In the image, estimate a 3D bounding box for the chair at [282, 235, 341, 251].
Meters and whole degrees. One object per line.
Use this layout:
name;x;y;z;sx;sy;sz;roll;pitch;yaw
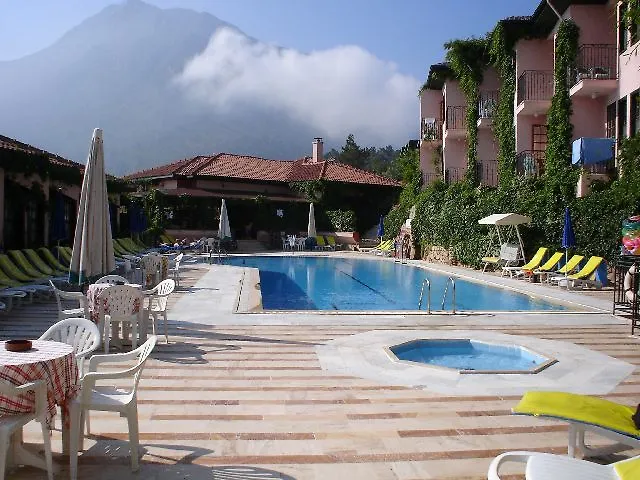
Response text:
chair;-0.497;0.113;32.471;4.020;0.854;1.454;-1;2;-43

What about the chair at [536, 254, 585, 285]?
chair;7.071;0.845;16.228;1.190;0.778;0.730;-5;0;6

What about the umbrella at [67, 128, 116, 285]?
umbrella;-4.056;-0.661;9.873;0.562;2.848;0.847;0;2;10

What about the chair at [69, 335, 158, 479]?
chair;-2.228;1.559;5.782;1.046;1.709;1.165;4;-4;-21

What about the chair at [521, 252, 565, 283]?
chair;7.014;0.764;17.098;1.217;0.899;0.685;-22;4;-4
